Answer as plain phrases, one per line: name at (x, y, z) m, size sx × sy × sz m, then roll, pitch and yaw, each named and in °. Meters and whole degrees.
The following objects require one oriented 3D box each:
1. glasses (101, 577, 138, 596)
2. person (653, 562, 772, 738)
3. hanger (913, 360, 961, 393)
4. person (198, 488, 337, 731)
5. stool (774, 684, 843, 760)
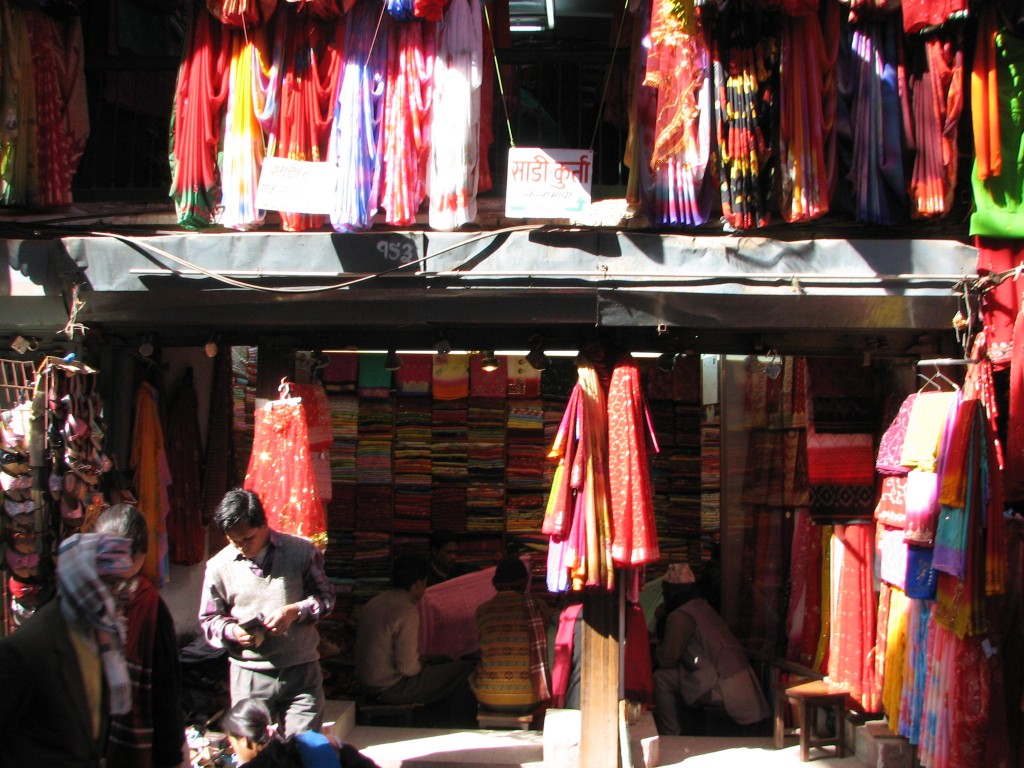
glasses at (-1.961, 1.001, 6.964) m, size 0.097 × 0.058 × 0.110 m, roll -27°, pitch 1°, yaw -39°
person at (1.361, 1.936, 10.278) m, size 0.797 × 1.282 × 0.725 m, roll -6°, pitch -5°, yaw -15°
hanger at (2.732, -0.044, 8.941) m, size 0.166 × 0.128 × 0.269 m, roll -21°, pitch 12°, yaw -33°
person at (-1.435, 1.333, 8.221) m, size 0.765 × 1.432 × 0.437 m, roll -1°, pitch 1°, yaw -15°
stool at (2.017, 2.230, 9.454) m, size 0.460 × 0.459 × 0.438 m, roll -1°, pitch 1°, yaw -15°
